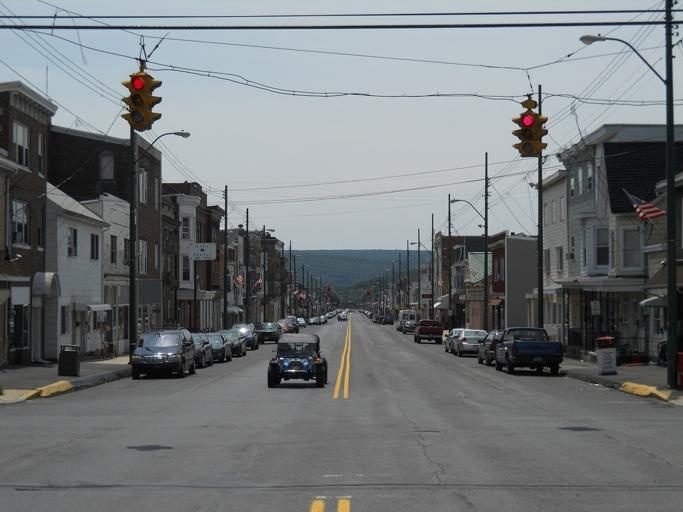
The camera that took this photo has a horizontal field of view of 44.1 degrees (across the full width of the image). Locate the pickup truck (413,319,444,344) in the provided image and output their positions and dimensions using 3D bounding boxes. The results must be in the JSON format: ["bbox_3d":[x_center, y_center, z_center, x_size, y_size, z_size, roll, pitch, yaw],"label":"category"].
[{"bbox_3d":[7.657,6.680,73.733,2.156,2.307,3.114,-5,-9,13],"label":"pickup truck"}]
